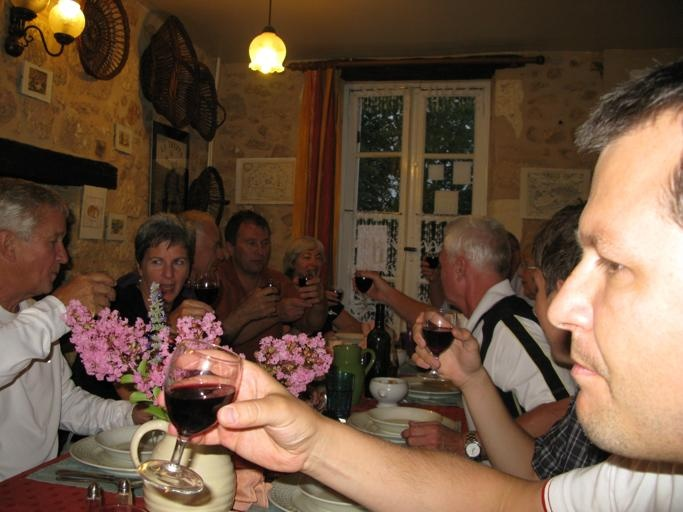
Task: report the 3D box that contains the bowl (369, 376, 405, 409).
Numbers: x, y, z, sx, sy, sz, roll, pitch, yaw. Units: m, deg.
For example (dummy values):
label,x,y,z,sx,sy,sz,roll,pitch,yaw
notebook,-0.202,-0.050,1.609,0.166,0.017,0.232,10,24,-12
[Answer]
label,x,y,z,sx,sy,sz,roll,pitch,yaw
bowl,0.201,0.604,2.419,0.125,0.086,0.129,2,-18,1

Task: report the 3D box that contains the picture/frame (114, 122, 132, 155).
label,x,y,z,sx,sy,sz,roll,pitch,yaw
picture/frame,-1.723,-0.909,4.324,0.044,0.216,0.211,4,2,10

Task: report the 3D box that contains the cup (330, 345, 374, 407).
label,x,y,z,sx,sy,sz,roll,pitch,yaw
cup,0.076,0.538,2.548,0.267,0.278,0.201,5,-7,-37

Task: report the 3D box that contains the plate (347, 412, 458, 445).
label,x,y,z,sx,sy,sz,roll,pitch,yaw
plate,0.217,0.631,1.999,0.241,0.043,0.248,5,-1,-8

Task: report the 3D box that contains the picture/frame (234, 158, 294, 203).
label,x,y,z,sx,sy,sz,roll,pitch,yaw
picture/frame,-0.782,-0.778,5.739,0.449,0.352,0.064,0,-4,5

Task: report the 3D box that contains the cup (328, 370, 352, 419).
label,x,y,z,sx,sy,sz,roll,pitch,yaw
cup,-0.003,0.564,2.199,0.115,0.185,0.117,1,-7,0

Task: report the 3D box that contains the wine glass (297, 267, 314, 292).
label,x,y,z,sx,sy,sz,roll,pitch,yaw
wine glass,-0.241,0.141,3.453,0.119,0.159,0.155,1,-8,0

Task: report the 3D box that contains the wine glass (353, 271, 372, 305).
label,x,y,z,sx,sy,sz,roll,pitch,yaw
wine glass,0.133,0.177,3.558,0.127,0.154,0.139,1,-10,-2

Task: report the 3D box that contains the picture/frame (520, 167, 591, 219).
label,x,y,z,sx,sy,sz,roll,pitch,yaw
picture/frame,1.997,-0.573,5.153,0.606,0.525,0.012,2,-15,27
